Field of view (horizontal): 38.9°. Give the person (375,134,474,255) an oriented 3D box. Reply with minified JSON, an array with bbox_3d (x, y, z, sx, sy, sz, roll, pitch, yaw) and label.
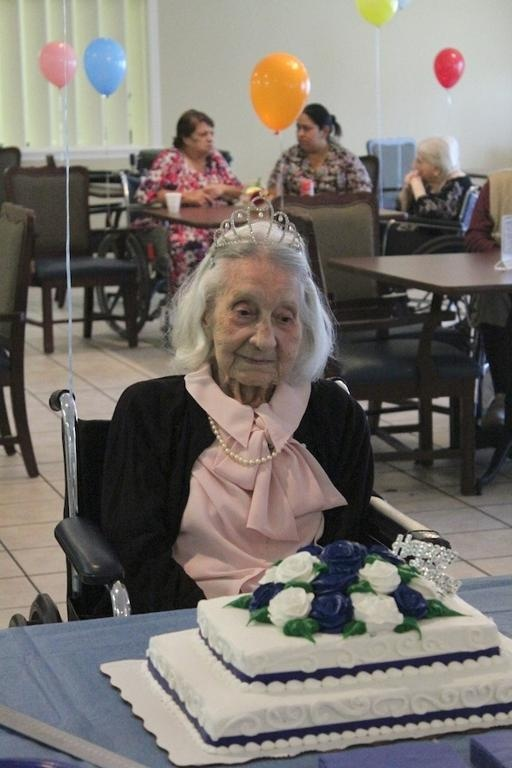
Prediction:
[{"bbox_3d":[1.007,-1.000,4.348,0.522,0.831,0.410,-6,24,-14],"label":"person"}]

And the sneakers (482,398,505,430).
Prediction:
[{"bbox_3d":[1.188,0.146,3.621,0.111,0.141,0.150,3,-7,0],"label":"sneakers"}]

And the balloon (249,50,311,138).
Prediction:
[{"bbox_3d":[0.119,-1.520,3.826,0.368,0.430,0.341,4,5,-3],"label":"balloon"}]

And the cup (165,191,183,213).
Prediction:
[{"bbox_3d":[-0.454,-0.989,3.956,0.112,0.103,0.107,0,13,0],"label":"cup"}]

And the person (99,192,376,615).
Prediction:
[{"bbox_3d":[-0.008,0.087,1.316,0.557,0.758,0.472,-1,13,-12],"label":"person"}]

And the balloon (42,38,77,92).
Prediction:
[{"bbox_3d":[-0.939,-1.517,3.407,0.180,0.222,0.259,-9,7,-11],"label":"balloon"}]

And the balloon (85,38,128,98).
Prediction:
[{"bbox_3d":[-0.721,-1.498,3.439,0.253,0.304,0.242,-1,22,-3],"label":"balloon"}]

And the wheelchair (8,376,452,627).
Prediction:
[{"bbox_3d":[-0.097,0.210,1.352,0.467,0.494,0.685,-1,-1,-24],"label":"wheelchair"}]
